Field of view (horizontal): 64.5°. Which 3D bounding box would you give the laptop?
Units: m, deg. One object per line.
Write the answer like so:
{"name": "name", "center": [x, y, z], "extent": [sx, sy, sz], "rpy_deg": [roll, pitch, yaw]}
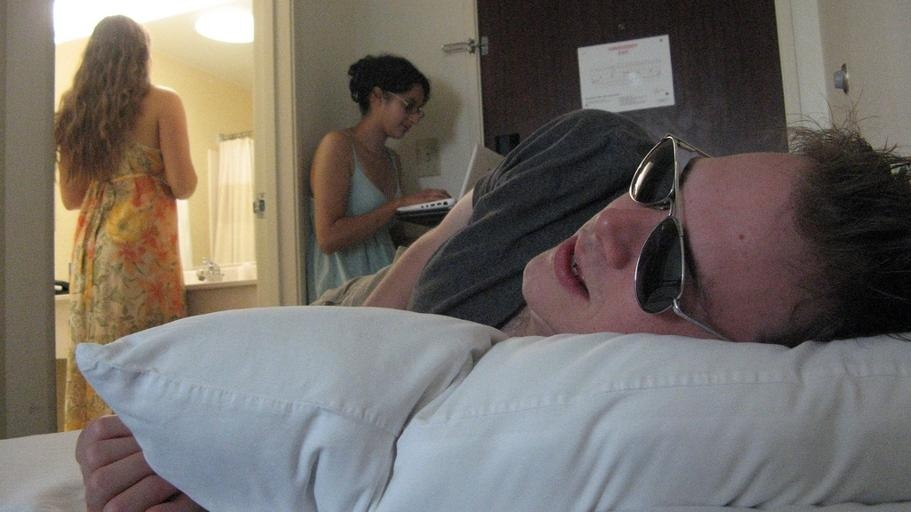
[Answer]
{"name": "laptop", "center": [0.001, -0.398, 3.376], "extent": [0.372, 0.247, 0.419], "rpy_deg": [2, 6, 21]}

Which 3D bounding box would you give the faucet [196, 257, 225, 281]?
{"name": "faucet", "center": [-1.200, 0.080, 3.528], "extent": [0.114, 0.108, 0.083], "rpy_deg": [0, -1, -33]}

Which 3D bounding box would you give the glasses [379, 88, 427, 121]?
{"name": "glasses", "center": [-0.254, -0.786, 3.722], "extent": [0.163, 0.050, 0.161], "rpy_deg": [29, 10, 40]}
